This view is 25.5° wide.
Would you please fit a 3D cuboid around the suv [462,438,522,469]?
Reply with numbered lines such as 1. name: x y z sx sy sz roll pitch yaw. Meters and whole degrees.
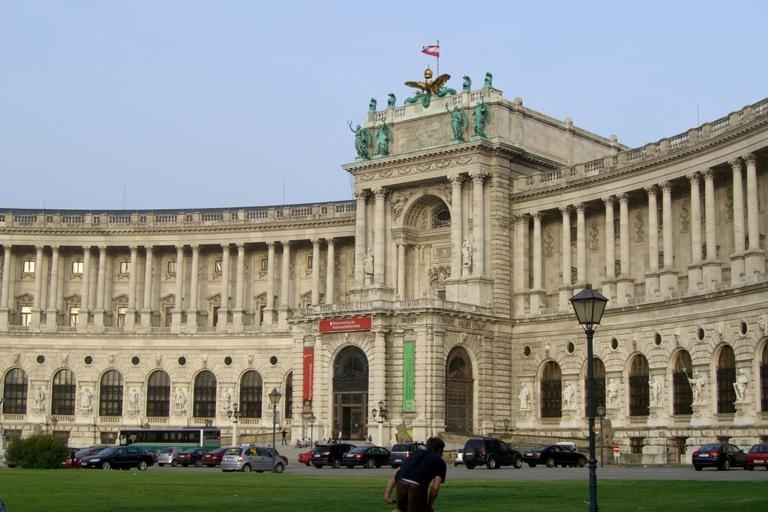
1. suv: 7.301 14.173 119.771 3.887 2.322 2.527 7 -17 -25

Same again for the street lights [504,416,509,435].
1. street lights: 9.642 13.832 137.388 0.438 1.204 0.833 -2 -15 4
